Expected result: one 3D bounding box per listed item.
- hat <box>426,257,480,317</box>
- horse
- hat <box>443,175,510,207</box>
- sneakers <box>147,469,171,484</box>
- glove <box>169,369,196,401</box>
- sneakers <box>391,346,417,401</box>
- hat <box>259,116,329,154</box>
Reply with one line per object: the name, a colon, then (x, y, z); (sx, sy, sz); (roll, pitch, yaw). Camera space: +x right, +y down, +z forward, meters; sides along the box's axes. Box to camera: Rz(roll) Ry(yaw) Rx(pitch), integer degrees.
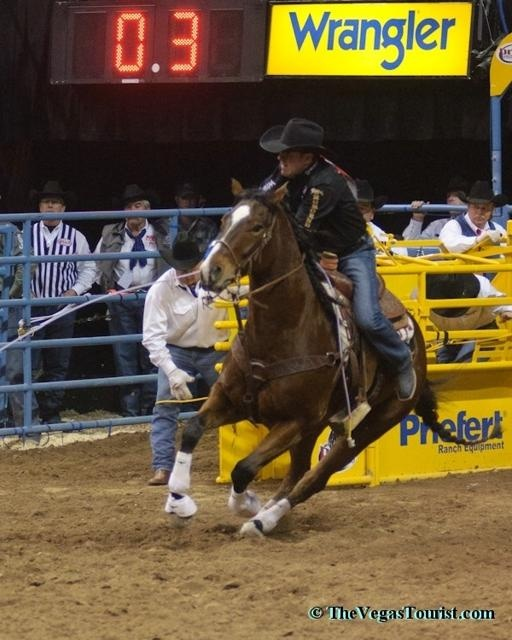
hat: (1.510, -0.238, 7.243); (0.674, 0.487, 0.327); (1, 3, 13)
horse: (0.631, 0.326, 5.673); (0.894, 1.728, 3.267); (5, -1, 35)
hat: (1.980, -1.188, 8.406); (0.546, 0.195, 0.587); (1, -6, 14)
sneakers: (-0.664, 1.083, 6.443); (0.091, 0.146, 0.229); (3, -21, 9)
glove: (-0.452, 0.427, 5.912); (0.127, 0.204, 0.155); (-27, 51, -14)
sneakers: (0.869, 0.315, 5.458); (0.114, 0.138, 0.334); (-26, 27, 26)
hat: (0.200, -0.946, 4.910); (0.342, 0.109, 0.239); (-6, 24, -26)
